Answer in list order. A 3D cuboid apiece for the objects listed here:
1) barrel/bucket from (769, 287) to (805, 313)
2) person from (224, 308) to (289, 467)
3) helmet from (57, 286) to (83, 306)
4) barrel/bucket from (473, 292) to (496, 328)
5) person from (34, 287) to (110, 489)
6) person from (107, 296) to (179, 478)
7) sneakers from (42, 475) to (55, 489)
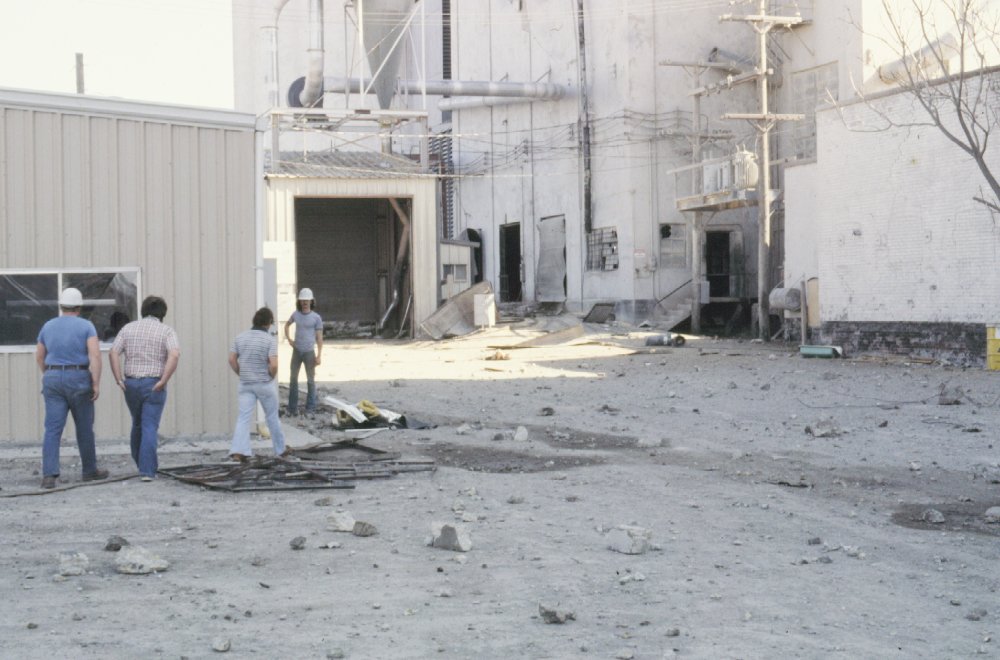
[{"bbox_3d":[7.895,-0.860,37.258,0.605,0.740,1.381,-1,14,-5],"label":"barrel/bucket"},{"bbox_3d":[-3.755,0.892,21.067,0.831,2.376,1.188,-2,14,-10],"label":"person"},{"bbox_3d":[-6.352,-0.492,20.213,0.336,0.251,0.478,2,14,-21],"label":"helmet"},{"bbox_3d":[-0.428,-0.577,40.265,0.617,0.983,0.791,-1,14,-5],"label":"barrel/bucket"},{"bbox_3d":[-6.287,0.870,19.889,0.920,2.799,0.960,-5,15,-21],"label":"person"},{"bbox_3d":[-5.228,0.839,20.249,0.845,2.560,0.898,13,19,41],"label":"person"},{"bbox_3d":[-6.519,2.197,19.734,0.211,0.158,0.317,-4,14,-18],"label":"sneakers"}]
